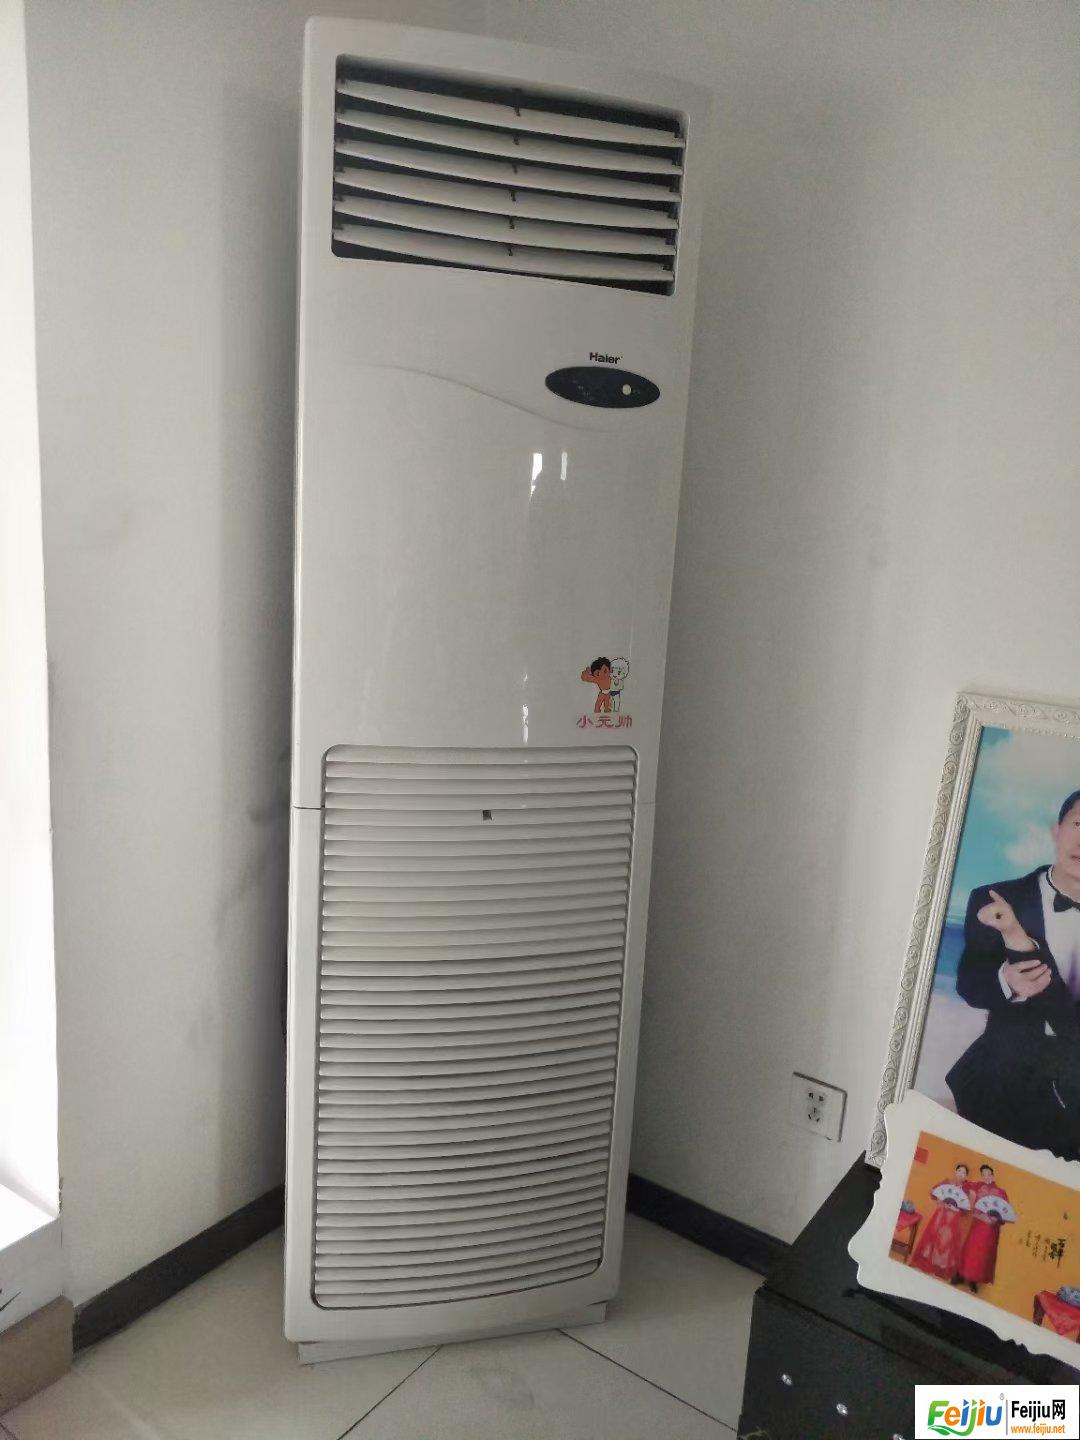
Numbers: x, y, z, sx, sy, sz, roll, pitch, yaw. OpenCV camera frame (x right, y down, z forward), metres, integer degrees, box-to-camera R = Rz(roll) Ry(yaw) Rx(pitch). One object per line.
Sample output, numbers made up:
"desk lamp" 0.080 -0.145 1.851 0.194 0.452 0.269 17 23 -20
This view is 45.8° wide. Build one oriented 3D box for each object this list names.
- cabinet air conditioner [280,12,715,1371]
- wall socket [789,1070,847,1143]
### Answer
"cabinet air conditioner" -0.130 0.006 1.877 0.539 1.704 0.498 1 7 -17
"wall socket" 0.420 0.575 1.921 0.011 0.102 0.093 -22 42 -37
